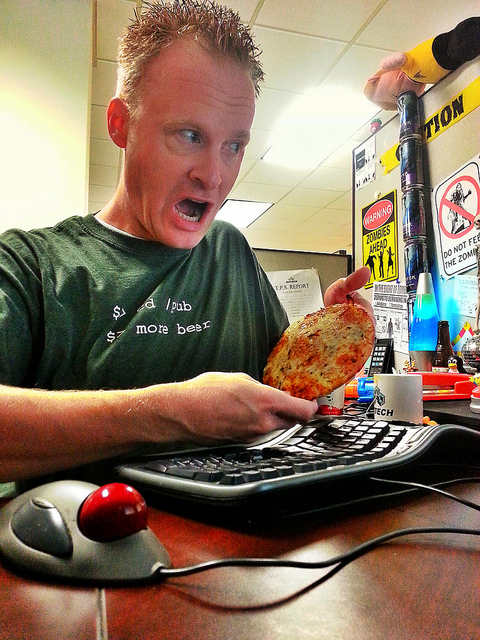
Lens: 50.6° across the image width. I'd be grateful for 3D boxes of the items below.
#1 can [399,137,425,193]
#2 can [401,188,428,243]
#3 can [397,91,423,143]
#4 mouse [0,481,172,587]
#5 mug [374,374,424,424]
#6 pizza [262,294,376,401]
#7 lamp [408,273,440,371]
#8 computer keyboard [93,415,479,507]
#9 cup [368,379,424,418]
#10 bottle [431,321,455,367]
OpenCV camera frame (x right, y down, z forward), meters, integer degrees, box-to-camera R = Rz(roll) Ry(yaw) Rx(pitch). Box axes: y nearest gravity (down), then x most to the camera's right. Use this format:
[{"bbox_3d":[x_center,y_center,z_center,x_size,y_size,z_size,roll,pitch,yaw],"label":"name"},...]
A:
[{"bbox_3d":[0.451,-0.410,1.338,0.065,0.144,0.063,0,6,0],"label":"can"},{"bbox_3d":[0.457,-0.274,1.331,0.063,0.141,0.104,2,6,15],"label":"can"},{"bbox_3d":[0.458,-0.553,1.371,0.056,0.139,0.089,1,6,9],"label":"can"},{"bbox_3d":[-0.089,0.114,0.279,0.111,0.043,0.046,3,6,18],"label":"mouse"},{"bbox_3d":[0.205,0.100,0.659,0.059,0.067,0.070,-2,-6,21],"label":"mug"},{"bbox_3d":[0.104,0.048,0.733,0.142,0.144,0.272,1,6,1],"label":"pizza"},{"bbox_3d":[0.425,0.007,1.228,0.087,0.241,0.085,2,-4,-24],"label":"lamp"},{"bbox_3d":[0.042,0.080,0.426,0.146,0.090,0.182,0,-4,27],"label":"computer keyboard"},{"bbox_3d":[0.214,0.106,0.668,0.045,0.046,0.061,2,-13,14],"label":"cup"},{"bbox_3d":[0.458,0.053,1.145,0.041,0.102,0.057,3,6,22],"label":"bottle"}]
